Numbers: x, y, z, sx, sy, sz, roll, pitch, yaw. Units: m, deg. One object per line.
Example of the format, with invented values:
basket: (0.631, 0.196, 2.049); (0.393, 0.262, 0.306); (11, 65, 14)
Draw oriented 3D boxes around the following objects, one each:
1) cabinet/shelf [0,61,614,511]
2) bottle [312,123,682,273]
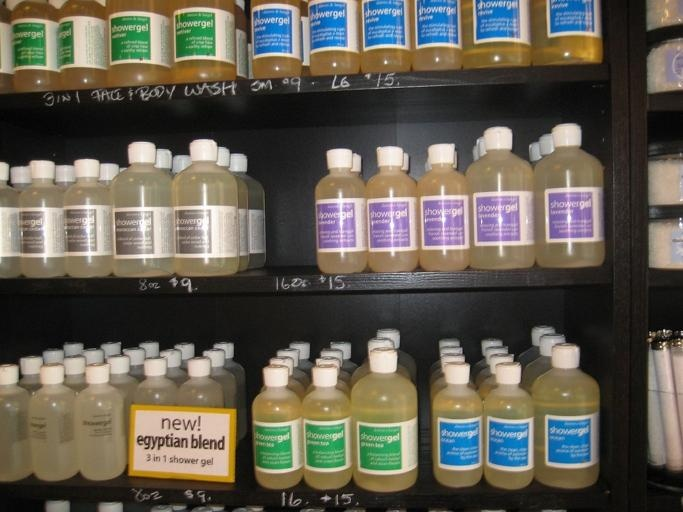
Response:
cabinet/shelf: (-0.073, 0.084, 1.885); (1.537, 0.818, 0.436); (0, 3, 6)
bottle: (0.621, -0.152, 1.826); (0.552, 0.340, 0.189); (-4, 1, 9)
